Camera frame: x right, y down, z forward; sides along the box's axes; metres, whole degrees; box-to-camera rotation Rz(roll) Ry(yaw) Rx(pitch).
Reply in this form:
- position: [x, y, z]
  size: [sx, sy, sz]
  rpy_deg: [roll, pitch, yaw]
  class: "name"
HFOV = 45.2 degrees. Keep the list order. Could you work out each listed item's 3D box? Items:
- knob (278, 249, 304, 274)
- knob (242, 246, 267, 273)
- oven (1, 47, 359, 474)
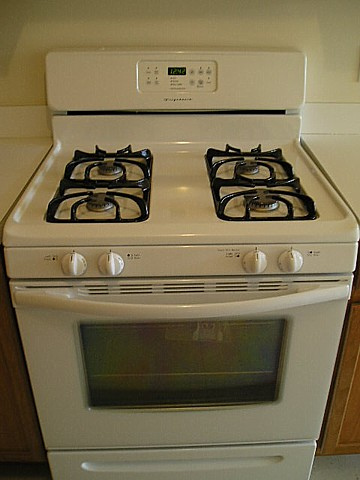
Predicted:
- position: [0.221, 0.048, 0.852]
  size: [0.049, 0.062, 0.028]
  rpy_deg: [-14, 30, -21]
  class: "knob"
- position: [0.149, 0.034, 0.842]
  size: [0.045, 0.048, 0.013]
  rpy_deg: [-2, 13, 6]
  class: "knob"
- position: [0.005, 0.068, 1.166]
  size: [0.747, 1.045, 0.649]
  rpy_deg: [-1, 28, 4]
  class: "oven"
